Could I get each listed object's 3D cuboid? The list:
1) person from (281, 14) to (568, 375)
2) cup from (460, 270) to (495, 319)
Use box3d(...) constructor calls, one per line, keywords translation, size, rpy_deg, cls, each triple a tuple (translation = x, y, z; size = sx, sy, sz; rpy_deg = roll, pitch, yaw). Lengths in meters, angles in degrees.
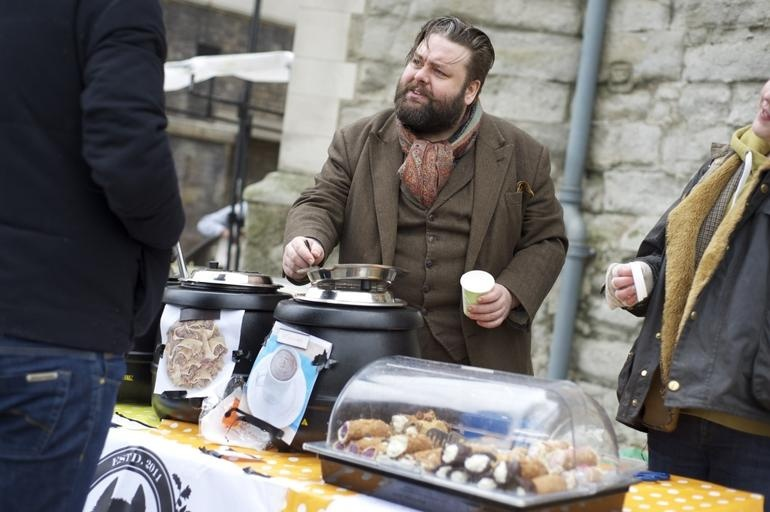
box3d(translation=(0.128, 0.032, 3.502), size=(1.128, 1.860, 0.815), rpy_deg=(-1, 20, -11), cls="person")
box3d(translation=(0.317, 0.130, 2.993), size=(0.105, 0.172, 0.169), rpy_deg=(8, 9, 6), cls="cup")
